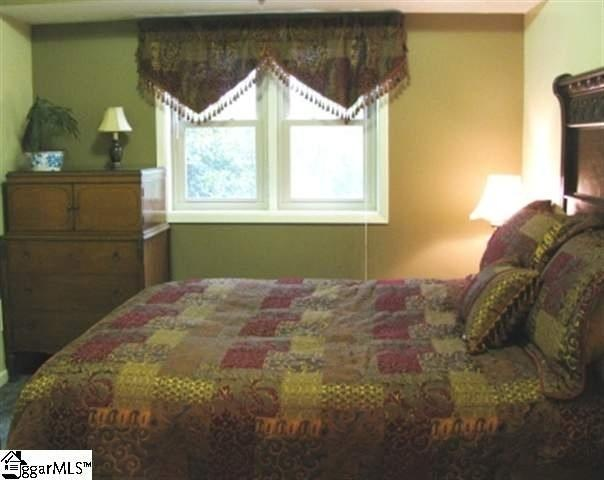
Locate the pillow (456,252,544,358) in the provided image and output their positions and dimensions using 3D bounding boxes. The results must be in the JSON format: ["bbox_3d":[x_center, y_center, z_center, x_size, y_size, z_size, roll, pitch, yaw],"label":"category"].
[{"bbox_3d":[0.765,0.270,2.140,0.154,0.366,0.318,25,-36,-20],"label":"pillow"}]

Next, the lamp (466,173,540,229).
[{"bbox_3d":[1.302,-0.263,3.391,0.315,0.370,0.392,0,9,9],"label":"lamp"}]
